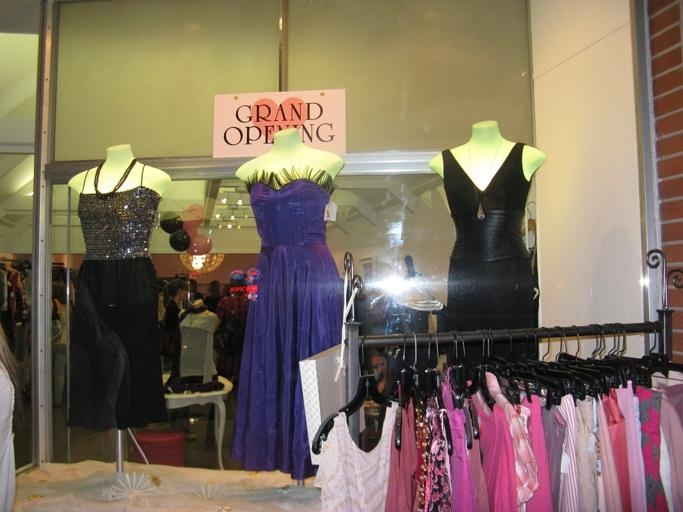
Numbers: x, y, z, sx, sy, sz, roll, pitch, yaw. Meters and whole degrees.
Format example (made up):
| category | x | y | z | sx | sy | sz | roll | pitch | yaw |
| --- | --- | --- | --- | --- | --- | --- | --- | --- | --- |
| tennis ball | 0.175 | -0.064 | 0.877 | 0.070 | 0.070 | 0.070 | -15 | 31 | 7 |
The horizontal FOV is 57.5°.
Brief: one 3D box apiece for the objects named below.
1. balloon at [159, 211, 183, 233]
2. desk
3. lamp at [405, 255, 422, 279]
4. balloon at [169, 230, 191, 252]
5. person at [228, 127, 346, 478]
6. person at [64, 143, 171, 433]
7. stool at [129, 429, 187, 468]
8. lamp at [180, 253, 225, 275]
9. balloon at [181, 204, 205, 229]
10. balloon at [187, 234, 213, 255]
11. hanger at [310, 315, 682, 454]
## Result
| category | x | y | z | sx | sy | sz | roll | pitch | yaw |
| --- | --- | --- | --- | --- | --- | --- | --- | --- | --- |
| balloon | -1.049 | -0.209 | 3.804 | 0.106 | 0.137 | 0.120 | 3 | 9 | 14 |
| desk | -0.881 | 0.915 | 3.482 | 0.476 | 0.493 | 0.511 | -3 | -2 | -2 |
| lamp | 0.418 | 0.062 | 3.765 | 0.067 | 0.139 | 0.039 | -11 | 2 | 13 |
| balloon | -0.987 | -0.088 | 3.779 | 0.103 | 0.140 | 0.112 | 1 | 3 | 19 |
| person | -0.281 | 0.232 | 3.304 | 0.574 | 1.835 | 0.320 | 1 | -3 | -12 |
| person | -1.244 | 0.164 | 3.471 | 0.559 | 1.590 | 0.188 | 0 | -3 | 12 |
| stool | -1.084 | 1.133 | 3.672 | 0.226 | 0.232 | 0.240 | 3 | -3 | -32 |
| lamp | -0.849 | 0.046 | 3.762 | 0.260 | 0.124 | 0.041 | 0 | -3 | 8 |
| balloon | -0.912 | -0.245 | 3.805 | 0.114 | 0.120 | 0.146 | 6 | -22 | -18 |
| balloon | -0.860 | -0.068 | 3.730 | 0.104 | 0.115 | 0.112 | -1 | 5 | 1 |
| hanger | 0.648 | 0.503 | 2.699 | 1.540 | 0.556 | 0.819 | 1 | -3 | -5 |
